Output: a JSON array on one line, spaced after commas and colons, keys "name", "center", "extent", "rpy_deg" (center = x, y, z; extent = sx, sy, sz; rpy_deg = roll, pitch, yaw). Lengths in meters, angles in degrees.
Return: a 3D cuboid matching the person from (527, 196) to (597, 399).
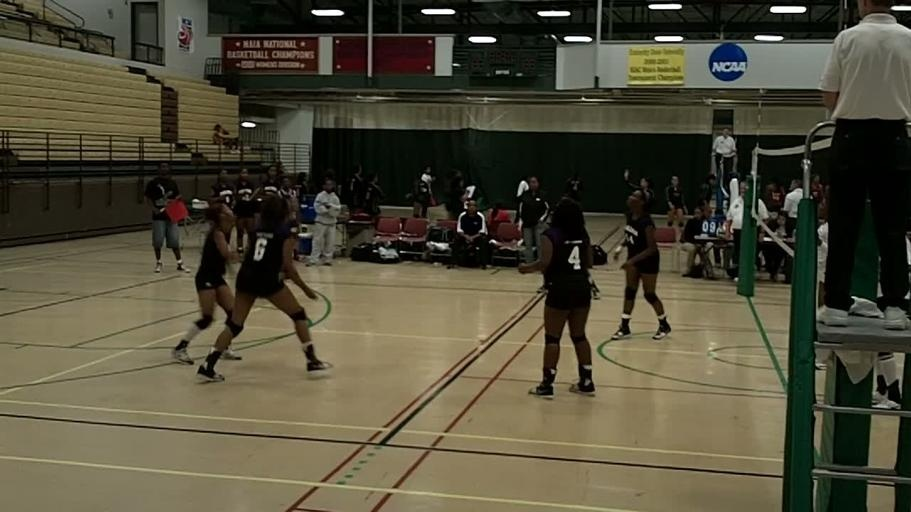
[{"name": "person", "center": [1.676, 0.628, 10.847], "extent": [0.907, 3.014, 0.891], "rpy_deg": [4, 9, 29]}]
